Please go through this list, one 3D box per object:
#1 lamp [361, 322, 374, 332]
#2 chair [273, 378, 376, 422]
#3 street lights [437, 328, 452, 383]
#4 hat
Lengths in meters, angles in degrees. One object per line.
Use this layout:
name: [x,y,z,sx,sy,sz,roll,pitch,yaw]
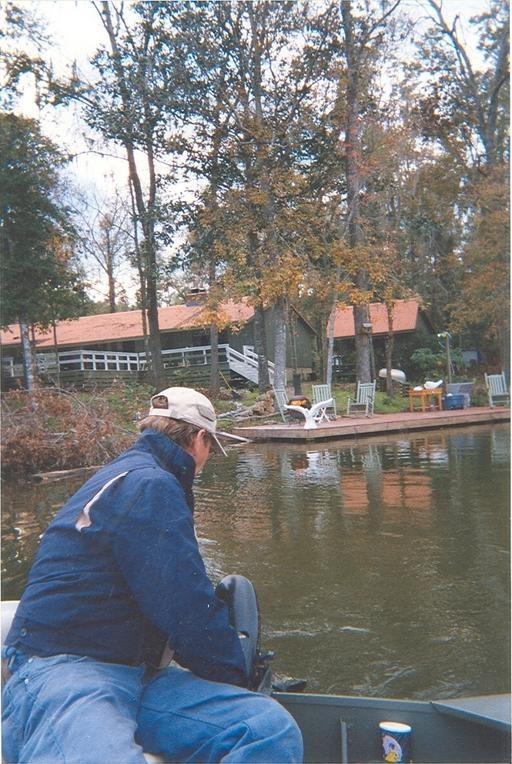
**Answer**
lamp: [0.852,-0.424,6.594,0.055,0.087,0.049,6,48,15]
chair: [0.596,0.148,7.719,0.402,0.312,0.647,-1,1,-42]
street lights: [1.261,-0.161,5.746,0.080,0.360,0.224,-4,7,-1]
hat: [-0.216,0.110,2.867,0.147,0.106,0.203,8,-11,41]
